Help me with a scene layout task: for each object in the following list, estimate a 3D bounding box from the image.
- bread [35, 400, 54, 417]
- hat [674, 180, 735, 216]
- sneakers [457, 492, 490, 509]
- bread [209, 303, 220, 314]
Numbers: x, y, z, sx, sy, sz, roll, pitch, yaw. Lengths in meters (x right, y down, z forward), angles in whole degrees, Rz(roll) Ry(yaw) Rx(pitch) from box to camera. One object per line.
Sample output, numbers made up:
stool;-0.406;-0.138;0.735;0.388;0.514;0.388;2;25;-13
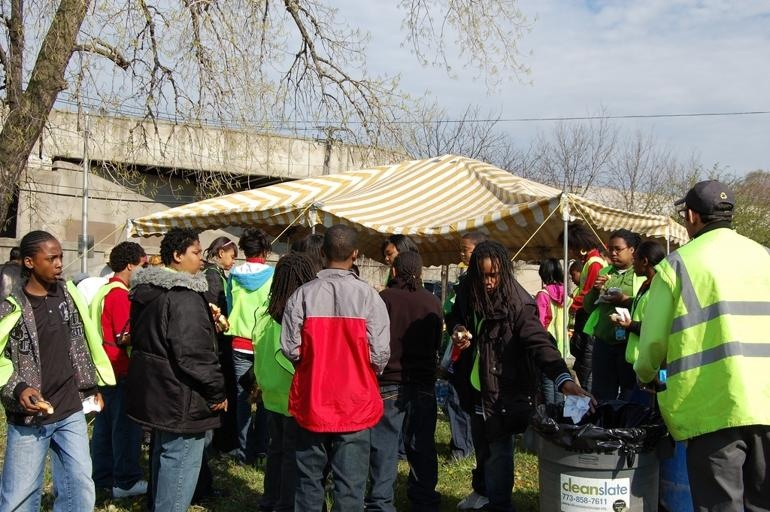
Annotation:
bread;-2.815;1.252;6.589;0.122;0.112;0.177;3;0;-18
hat;2.579;-0.510;6.439;0.318;0.291;0.511;-1;14;-13
sneakers;0.851;2.391;7.807;0.340;0.157;0.126;-3;-12;13
bread;-1.711;0.524;7.959;0.108;0.041;0.112;46;3;5
